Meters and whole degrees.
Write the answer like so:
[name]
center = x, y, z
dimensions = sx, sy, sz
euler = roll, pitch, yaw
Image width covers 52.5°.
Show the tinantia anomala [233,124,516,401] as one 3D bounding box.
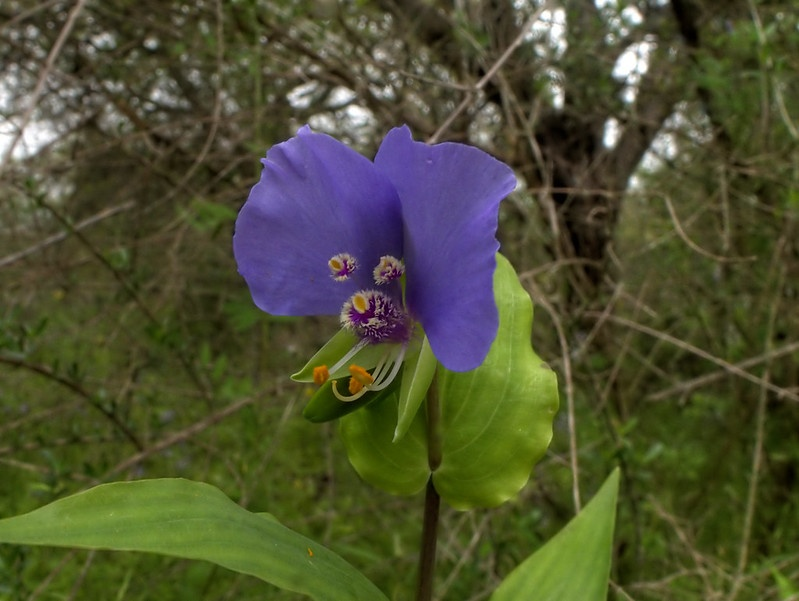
[tinantia anomala]
center = -0.029, -0.161, 1.796
dimensions = 0.583, 0.614, 0.298
euler = 11, 24, 27
